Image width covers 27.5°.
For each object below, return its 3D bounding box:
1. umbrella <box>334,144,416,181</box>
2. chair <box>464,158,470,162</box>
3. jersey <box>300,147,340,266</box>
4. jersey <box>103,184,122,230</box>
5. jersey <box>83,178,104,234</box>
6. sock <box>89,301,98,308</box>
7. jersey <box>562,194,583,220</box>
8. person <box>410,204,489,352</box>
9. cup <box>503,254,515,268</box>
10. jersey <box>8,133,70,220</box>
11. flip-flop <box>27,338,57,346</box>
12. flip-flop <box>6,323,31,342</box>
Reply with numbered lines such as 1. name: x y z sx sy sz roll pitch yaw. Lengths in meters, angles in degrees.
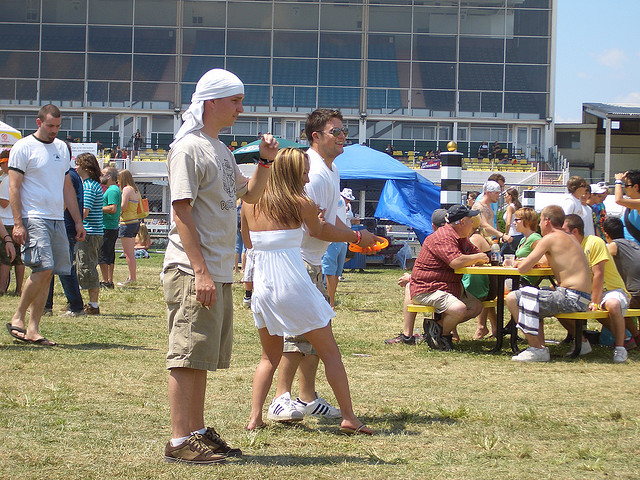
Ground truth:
1. umbrella: 1.464 -2.007 34.199 2.793 0.917 2.644 1 -1 3
2. chair: 5.632 -3.039 49.601 0.234 0.206 0.118 2 -17 -2
3. jersey: 0.039 -0.488 19.669 0.628 1.601 0.618 3 10 9
4. jersey: -4.062 -0.646 25.397 0.331 0.702 0.480 1 0 -9
5. jersey: -4.180 -0.630 24.130 0.260 0.818 0.477 2 1 36
6. sock: -4.093 1.136 23.492 0.139 0.089 0.204 1 1 -4
7. jersey: 4.632 -0.594 23.732 0.519 0.460 0.282 1 -5 -41
8. person: 2.181 0.626 22.248 1.241 2.251 0.580 1 0 1
9. cup: 3.283 0.345 22.516 0.230 0.212 0.218 1 -9 0
10. jersey: -4.602 -1.031 21.312 0.986 1.092 0.403 1 0 -14
11. flip-flop: -4.551 1.625 21.213 0.452 0.098 0.151 -1 -1 -5
12. flip-flop: -4.945 1.453 21.189 0.454 0.118 0.189 30 -6 1
